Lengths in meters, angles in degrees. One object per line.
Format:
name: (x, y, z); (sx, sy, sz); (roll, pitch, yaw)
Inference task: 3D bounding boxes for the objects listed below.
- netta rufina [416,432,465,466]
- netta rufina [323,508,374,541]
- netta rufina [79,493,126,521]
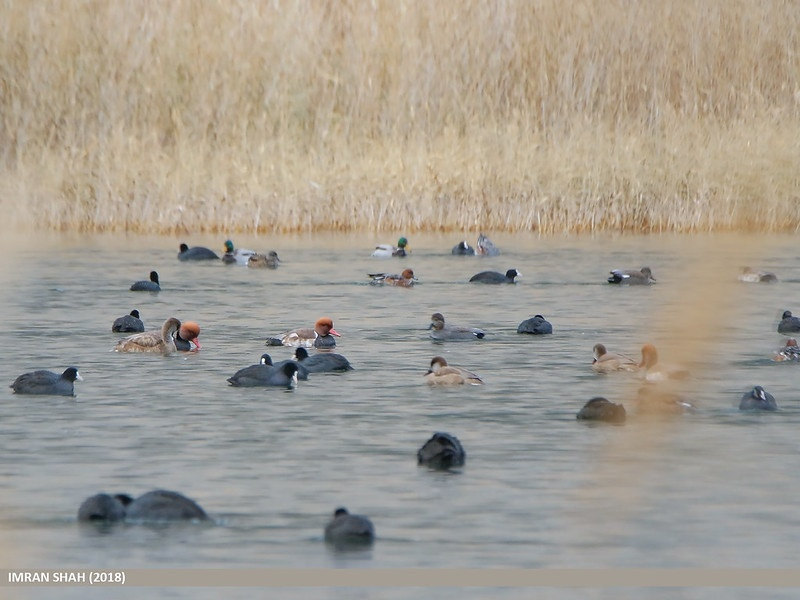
netta rufina: (0.503, 1.824, 17.582); (0.451, 0.160, 0.493); (10, 12, 35)
netta rufina: (-0.573, 2.466, 15.819); (0.377, 0.268, 0.465); (-4, -12, -3)
netta rufina: (-3.324, 2.282, 16.059); (0.346, 0.247, 0.400); (1, -23, -2)
